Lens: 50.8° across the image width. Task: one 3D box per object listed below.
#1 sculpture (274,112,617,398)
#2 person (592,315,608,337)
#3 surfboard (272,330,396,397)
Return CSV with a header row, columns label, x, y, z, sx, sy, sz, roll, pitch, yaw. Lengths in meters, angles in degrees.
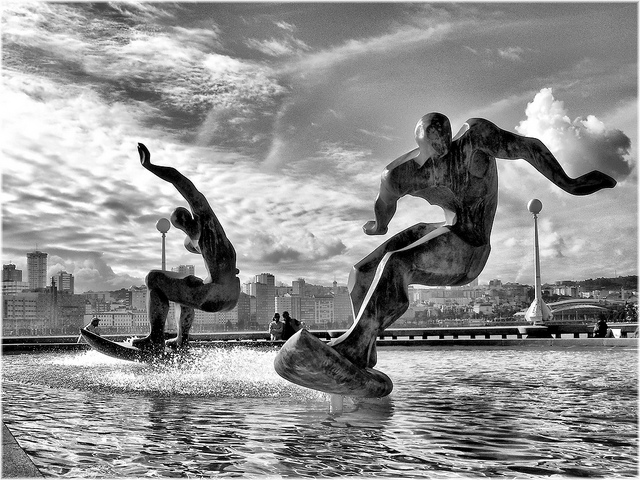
label,x,y,z,sx,sy,sz,roll,pitch,yaw
sculpture,0.987,0.015,6.252,2.151,3.199,1.975,1,-5,33
person,8.461,2.598,20.326,0.354,0.657,0.752,0,-6,24
surfboard,0.144,1.129,5.918,0.496,0.339,1.082,-22,-31,32
